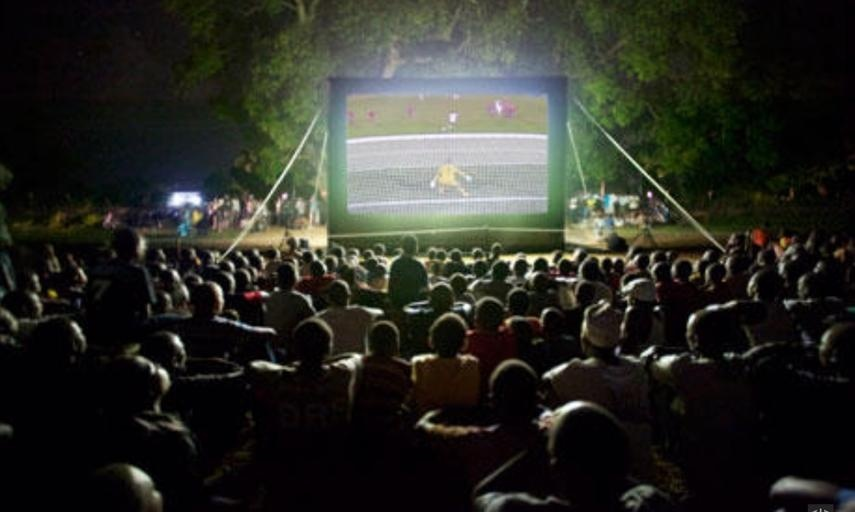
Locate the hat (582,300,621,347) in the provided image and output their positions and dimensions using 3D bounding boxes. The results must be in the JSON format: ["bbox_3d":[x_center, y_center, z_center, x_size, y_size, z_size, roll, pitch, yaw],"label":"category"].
[{"bbox_3d":[1.639,0.652,6.263,0.382,0.280,0.378,-2,28,10],"label":"hat"}]

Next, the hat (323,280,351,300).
[{"bbox_3d":[-1.007,0.354,7.473,0.227,0.236,0.302,4,-26,-4],"label":"hat"}]
